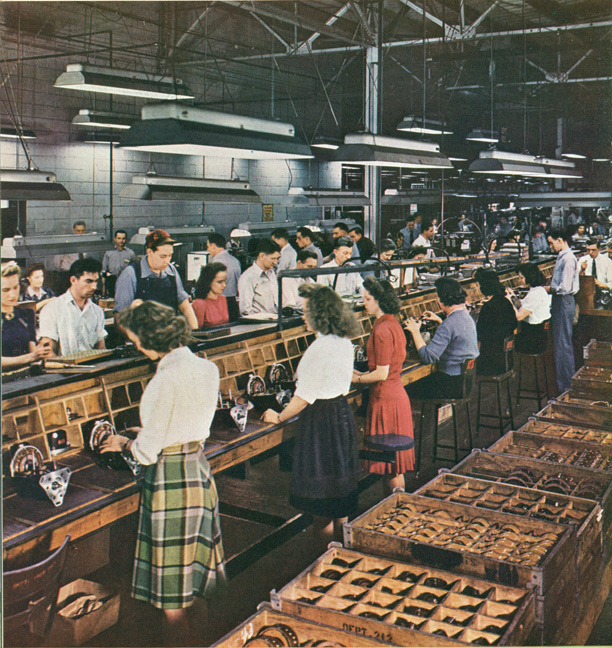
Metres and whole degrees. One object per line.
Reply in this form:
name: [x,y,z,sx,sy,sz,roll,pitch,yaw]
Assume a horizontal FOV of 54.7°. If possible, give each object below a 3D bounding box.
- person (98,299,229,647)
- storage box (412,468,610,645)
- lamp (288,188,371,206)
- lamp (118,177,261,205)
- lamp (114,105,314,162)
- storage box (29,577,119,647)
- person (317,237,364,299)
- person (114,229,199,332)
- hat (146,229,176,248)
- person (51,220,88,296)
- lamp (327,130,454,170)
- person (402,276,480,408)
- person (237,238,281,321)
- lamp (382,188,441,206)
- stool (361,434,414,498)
person: [-0.503,0.596,2.245,0.305,1.352,0.326,4,13,36]
storage box: [1.095,1.073,2.913,0.725,0.429,0.726,4,10,34]
lamp: [0.472,-2.151,9.988,1.263,0.317,1.520,-7,11,-20]
lamp: [-1.427,-1.707,7.534,0.373,0.311,1.912,4,12,35]
lamp: [-0.472,-1.102,3.387,0.419,0.236,1.047,6,14,42]
storage box: [-0.958,1.244,2.550,0.286,0.123,0.293,5,8,32]
person: [0.381,-0.524,6.316,0.533,0.739,0.380,-2,12,-27]
person: [-1.084,-0.230,4.226,0.475,0.816,0.610,23,23,32]
hat: [-0.976,-0.580,3.999,0.171,0.135,0.129,10,14,34]
person: [-3.731,-0.944,9.083,0.404,1.392,0.487,16,-9,-25]
lamp: [0.765,-1.592,5.464,0.414,0.262,1.403,5,13,38]
person: [1.047,0.334,4.572,0.615,1.348,0.564,1,12,18]
person: [-0.414,-0.419,5.835,0.409,0.789,0.518,12,15,27]
lamp: [1.613,-1.971,9.110,0.870,0.222,0.755,-1,10,10]
stool: [0.503,0.867,3.727,0.291,0.319,0.423,1,8,16]
